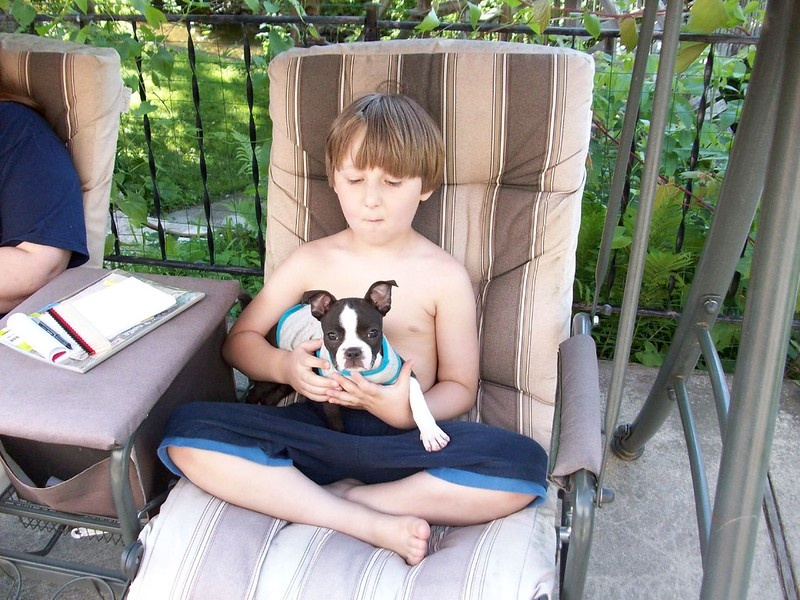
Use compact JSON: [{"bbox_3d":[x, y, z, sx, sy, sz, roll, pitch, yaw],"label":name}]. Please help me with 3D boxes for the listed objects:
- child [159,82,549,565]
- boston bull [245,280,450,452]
[{"bbox_3d":[-0.128,0.002,1.605,0.935,1.215,0.970,-2,6,-34],"label":"child"},{"bbox_3d":[-0.179,0.136,1.758,0.347,0.496,0.715,-23,26,-36],"label":"boston bull"}]
